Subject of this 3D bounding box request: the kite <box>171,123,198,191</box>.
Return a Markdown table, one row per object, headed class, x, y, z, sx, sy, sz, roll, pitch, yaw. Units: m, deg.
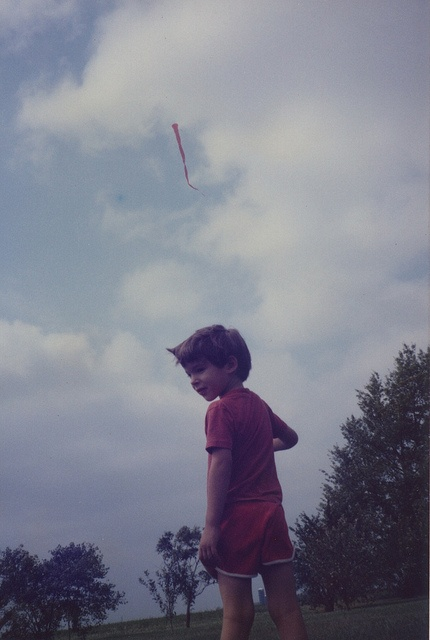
| class | x | y | z | sx | sy | sz | roll | pitch | yaw |
| --- | --- | --- | --- | --- | --- | --- | --- | --- | --- |
| kite | -0.168 | -0.897 | 5.881 | 0.122 | 0.387 | 0.027 | 5 | -17 | -33 |
